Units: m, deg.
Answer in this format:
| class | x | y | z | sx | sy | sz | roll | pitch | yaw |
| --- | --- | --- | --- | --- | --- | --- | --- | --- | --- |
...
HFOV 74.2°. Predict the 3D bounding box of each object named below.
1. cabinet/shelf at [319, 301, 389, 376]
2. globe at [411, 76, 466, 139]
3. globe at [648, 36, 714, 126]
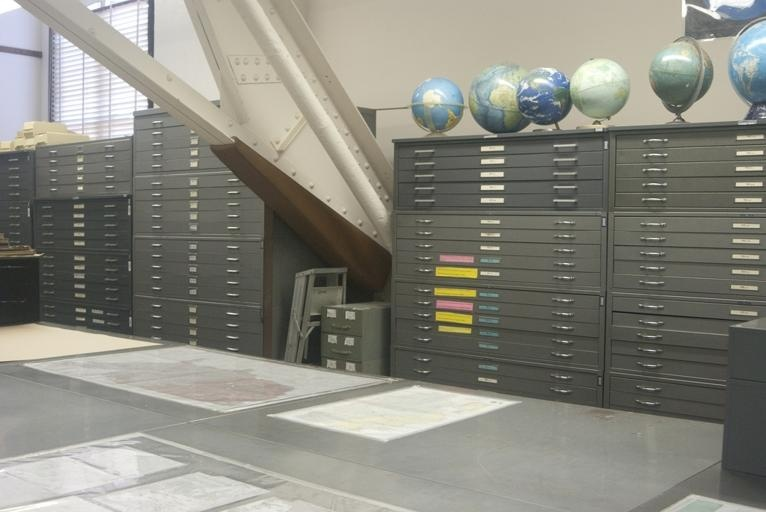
| class | x | y | z | sx | sy | sz | roll | pitch | yaw |
| --- | --- | --- | --- | --- | --- | --- | --- | --- | --- |
| cabinet/shelf | -0.212 | 0.616 | 3.980 | 0.673 | 0.637 | 0.498 | -1 | 4 | -42 |
| globe | 0.420 | -1.138 | 3.843 | 0.438 | 0.335 | 0.361 | -4 | 13 | -12 |
| globe | 1.672 | -0.992 | 2.954 | 0.409 | 0.479 | 0.323 | 6 | 10 | 24 |
